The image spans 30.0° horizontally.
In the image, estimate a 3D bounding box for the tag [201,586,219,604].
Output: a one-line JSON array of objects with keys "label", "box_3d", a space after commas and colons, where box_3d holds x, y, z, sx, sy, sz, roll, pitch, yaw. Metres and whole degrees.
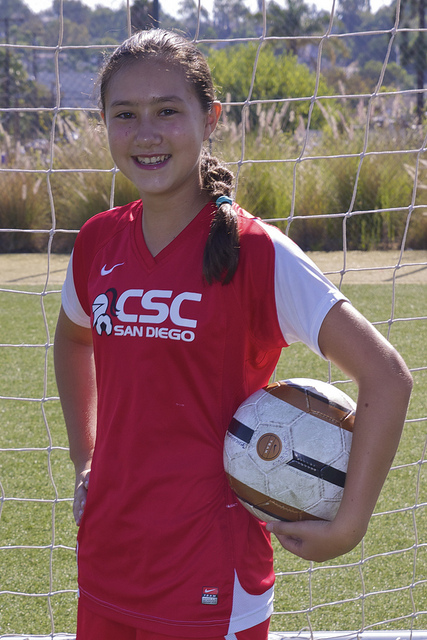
[{"label": "tag", "box_3d": [-0.006, 0.472, 1.372, 0.030, 0.029, 0.004, 5, -1, 9]}]

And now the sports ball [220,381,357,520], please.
[{"label": "sports ball", "box_3d": [0.129, 0.231, 1.414, 0.216, 0.210, 0.165, 8, 19, 11]}]

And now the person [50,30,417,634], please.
[{"label": "person", "box_3d": [-0.029, 0.049, 1.477, 0.442, 1.108, 0.746, -6, 21, -28]}]

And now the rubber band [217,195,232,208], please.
[{"label": "rubber band", "box_3d": [0.016, -0.220, 1.476, 0.021, 0.026, 0.015, 2, 16, 4]}]
